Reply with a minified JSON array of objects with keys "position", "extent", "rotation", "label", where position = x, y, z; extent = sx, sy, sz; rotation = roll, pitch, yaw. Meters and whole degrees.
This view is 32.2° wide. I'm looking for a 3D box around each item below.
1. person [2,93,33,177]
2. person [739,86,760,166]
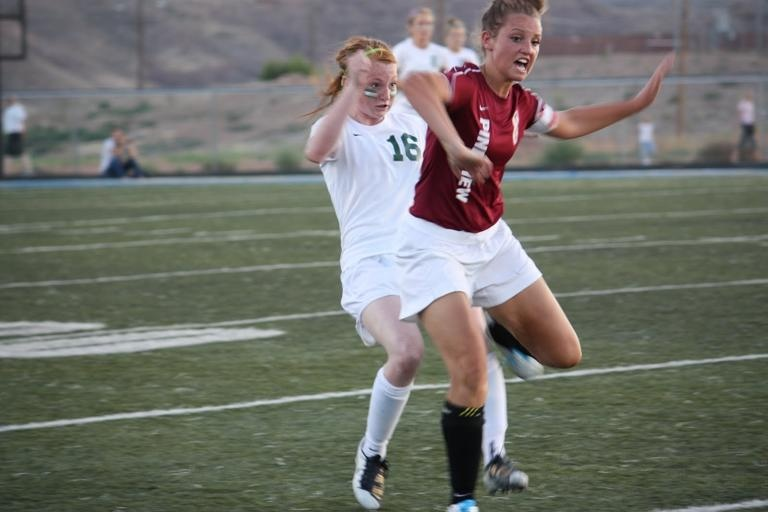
[{"position":[-3.717,-1.218,13.352],"extent":[0.262,0.777,0.632],"rotation":[-4,9,-14],"label":"person"},{"position":[5.131,-1.828,18.644],"extent":[0.268,0.936,0.919],"rotation":[1,8,15],"label":"person"}]
